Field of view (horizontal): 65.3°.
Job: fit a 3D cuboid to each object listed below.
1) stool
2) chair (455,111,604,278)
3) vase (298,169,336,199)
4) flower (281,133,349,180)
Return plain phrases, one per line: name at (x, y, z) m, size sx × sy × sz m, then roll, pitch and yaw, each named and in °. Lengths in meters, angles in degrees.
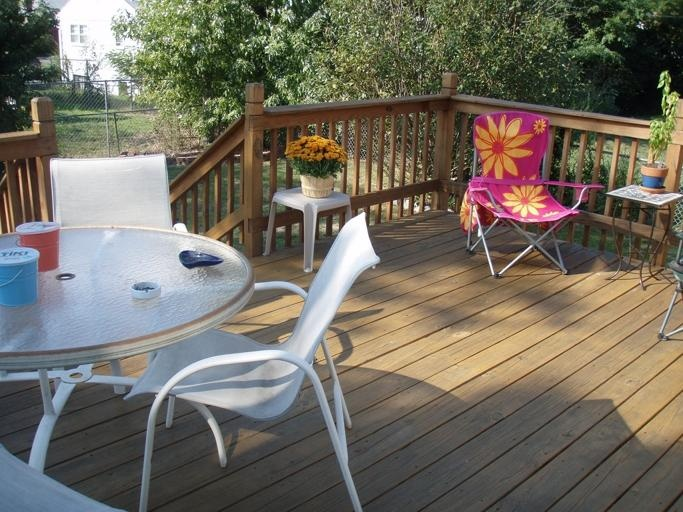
stool at (-0.272, -0.205, 4.394) m, size 0.747 × 0.565 × 0.712 m, roll -12°, pitch 30°, yaw -34°
chair at (1.511, -0.508, 4.250) m, size 1.095 × 1.111 × 0.894 m, roll 1°, pitch 21°, yaw 7°
vase at (-0.194, -0.568, 4.156) m, size 0.230 × 0.120 × 0.210 m, roll 1°, pitch 15°, yaw -3°
flower at (-0.222, -0.809, 4.174) m, size 0.424 × 0.229 × 0.376 m, roll -5°, pitch 24°, yaw -22°
